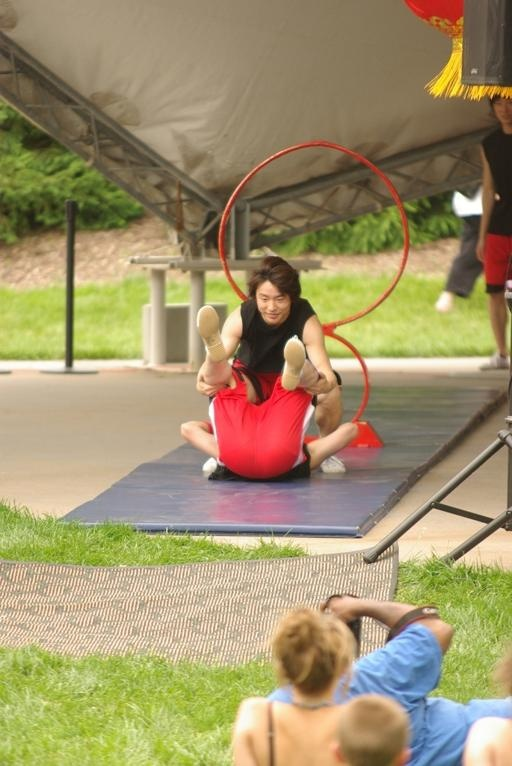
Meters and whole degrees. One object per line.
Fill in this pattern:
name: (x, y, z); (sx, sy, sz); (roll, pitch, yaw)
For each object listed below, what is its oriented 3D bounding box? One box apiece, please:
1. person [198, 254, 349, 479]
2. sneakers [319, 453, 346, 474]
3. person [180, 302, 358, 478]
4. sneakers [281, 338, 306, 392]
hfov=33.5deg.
person: (0.104, -0.124, 3.786); (0.757, 0.408, 1.077); (0, 35, 1)
sneakers: (0.358, 0.386, 4.015); (0.118, 0.055, 0.175); (0, 7, -2)
person: (-0.055, 0.113, 4.171); (0.909, 0.516, 1.386); (-15, -3, -10)
sneakers: (0.152, -0.071, 3.460); (0.098, 0.214, 0.087); (9, 42, 7)
